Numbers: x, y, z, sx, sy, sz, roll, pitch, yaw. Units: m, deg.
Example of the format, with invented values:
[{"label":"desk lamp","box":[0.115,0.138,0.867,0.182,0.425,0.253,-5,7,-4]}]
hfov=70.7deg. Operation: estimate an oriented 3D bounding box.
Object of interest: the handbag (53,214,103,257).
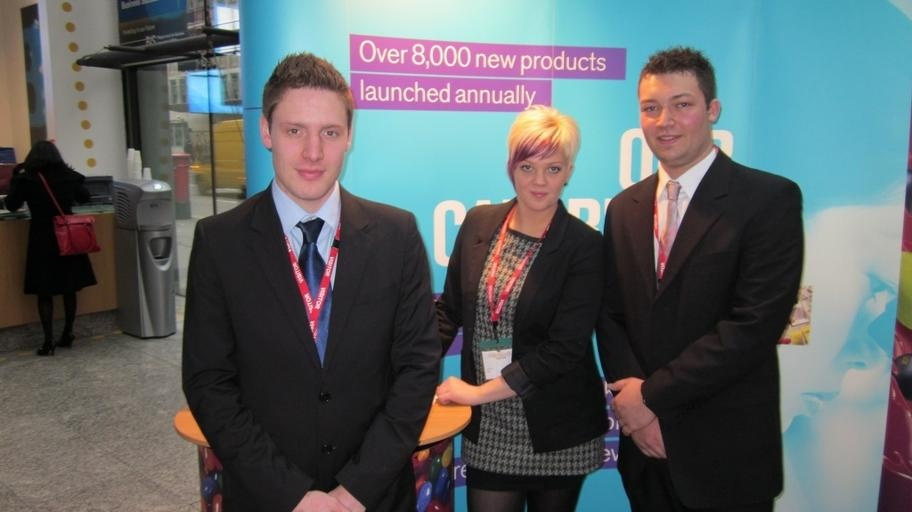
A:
[{"label":"handbag","box":[-4.328,-0.262,7.299,0.256,0.512,0.541,-6,4,14]}]

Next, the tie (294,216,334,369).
[{"label":"tie","box":[-0.748,0.167,3.422,0.252,0.687,0.079,0,-2,-9]}]

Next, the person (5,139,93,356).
[{"label":"person","box":[-4.606,-0.105,7.316,0.819,2.353,0.603,-5,15,-29]}]
